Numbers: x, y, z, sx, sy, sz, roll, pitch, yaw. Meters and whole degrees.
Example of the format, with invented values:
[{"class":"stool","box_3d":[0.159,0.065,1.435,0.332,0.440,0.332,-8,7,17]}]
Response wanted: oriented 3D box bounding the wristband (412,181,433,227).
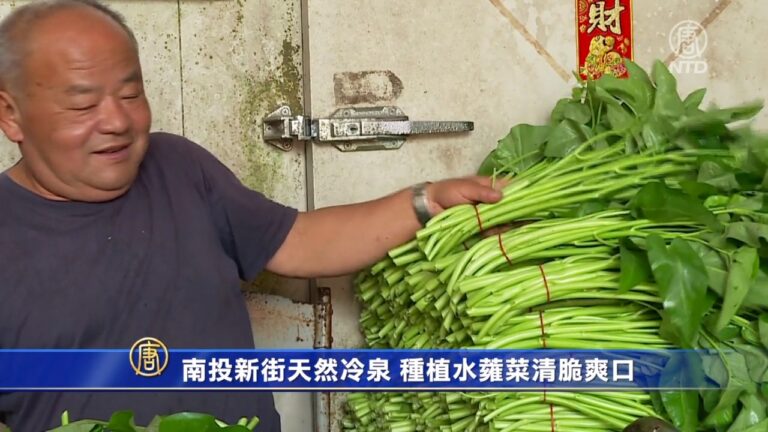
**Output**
[{"class":"wristband","box_3d":[0.140,-0.046,2.599,0.051,0.138,0.100,0,-5,-11]}]
